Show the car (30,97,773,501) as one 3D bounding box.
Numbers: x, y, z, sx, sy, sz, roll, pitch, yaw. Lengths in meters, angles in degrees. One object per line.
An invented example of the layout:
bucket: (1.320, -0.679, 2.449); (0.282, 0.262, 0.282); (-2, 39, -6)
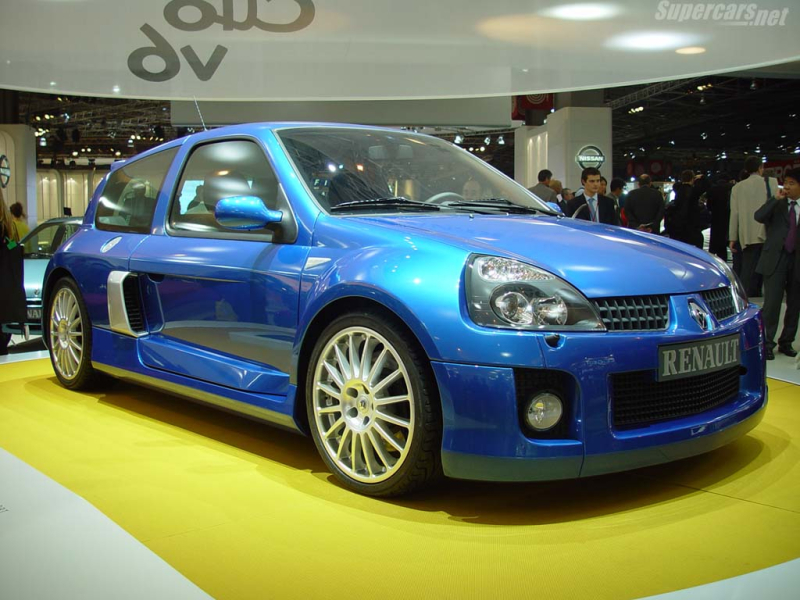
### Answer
car: (-0.513, -0.172, 3.522); (4.692, 1.849, 1.795); (3, 7, 38)

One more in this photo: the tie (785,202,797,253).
tie: (4.025, -0.749, 5.612); (0.091, 0.518, 0.148); (3, 7, 37)

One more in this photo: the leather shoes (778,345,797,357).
leather shoes: (4.064, 0.527, 5.736); (0.084, 0.074, 0.177); (-6, 6, -21)
